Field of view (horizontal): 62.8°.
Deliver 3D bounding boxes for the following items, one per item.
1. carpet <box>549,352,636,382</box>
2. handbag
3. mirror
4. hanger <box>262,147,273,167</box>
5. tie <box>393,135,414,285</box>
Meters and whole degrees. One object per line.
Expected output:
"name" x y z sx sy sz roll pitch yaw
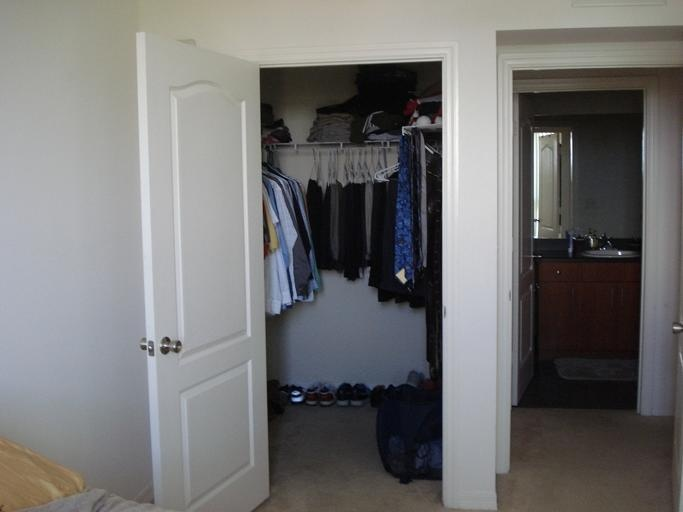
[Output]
"carpet" 2.367 1.039 5.171 0.735 0.042 0.717 3 11 18
"handbag" 0.453 1.120 3.625 0.377 0.518 0.181 6 -3 6
"mirror" 2.496 -0.854 5.628 1.174 1.438 0.060 0 1 6
"hanger" -0.585 -0.775 4.359 0.067 0.149 0.175 1 10 13
"tie" 0.403 -0.297 3.546 0.122 0.932 0.180 0 9 6
